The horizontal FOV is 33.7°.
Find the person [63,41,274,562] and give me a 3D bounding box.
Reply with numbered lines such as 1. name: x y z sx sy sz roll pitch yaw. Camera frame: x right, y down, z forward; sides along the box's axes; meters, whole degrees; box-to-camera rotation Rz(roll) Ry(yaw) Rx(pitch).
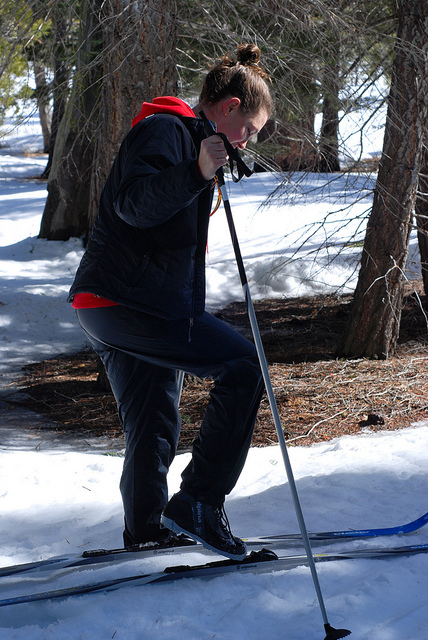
1. person: -0.177 -0.025 2.608 0.714 1.878 0.566 3 14 -11
